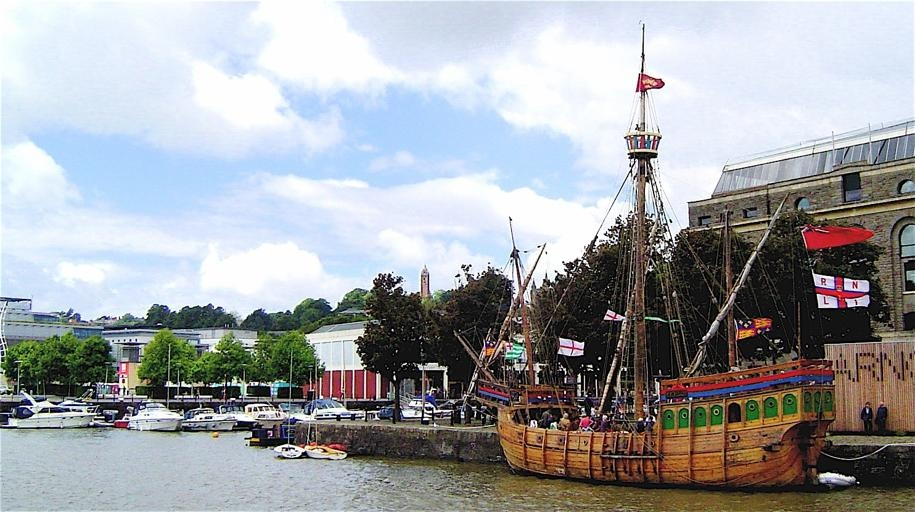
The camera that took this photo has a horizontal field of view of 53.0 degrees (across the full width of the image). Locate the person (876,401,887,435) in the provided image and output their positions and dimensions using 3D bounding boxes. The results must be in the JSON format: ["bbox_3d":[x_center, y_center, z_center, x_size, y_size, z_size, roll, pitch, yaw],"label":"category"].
[{"bbox_3d":[37.148,14.301,80.571,1.071,2.772,0.361,-3,0,19],"label":"person"}]

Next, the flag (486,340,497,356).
[{"bbox_3d":[3.333,9.307,91.537,1.451,1.057,0.585,-4,-39,10],"label":"flag"}]

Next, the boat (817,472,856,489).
[{"bbox_3d":[31.021,18.526,75.504,2.792,1.052,1.560,3,-7,22],"label":"boat"}]

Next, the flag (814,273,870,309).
[{"bbox_3d":[32.738,3.136,78.768,3.968,2.398,0.440,3,-8,4],"label":"flag"}]

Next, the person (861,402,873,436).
[{"bbox_3d":[36.094,14.300,80.975,1.016,2.774,0.557,-3,0,12],"label":"person"}]
